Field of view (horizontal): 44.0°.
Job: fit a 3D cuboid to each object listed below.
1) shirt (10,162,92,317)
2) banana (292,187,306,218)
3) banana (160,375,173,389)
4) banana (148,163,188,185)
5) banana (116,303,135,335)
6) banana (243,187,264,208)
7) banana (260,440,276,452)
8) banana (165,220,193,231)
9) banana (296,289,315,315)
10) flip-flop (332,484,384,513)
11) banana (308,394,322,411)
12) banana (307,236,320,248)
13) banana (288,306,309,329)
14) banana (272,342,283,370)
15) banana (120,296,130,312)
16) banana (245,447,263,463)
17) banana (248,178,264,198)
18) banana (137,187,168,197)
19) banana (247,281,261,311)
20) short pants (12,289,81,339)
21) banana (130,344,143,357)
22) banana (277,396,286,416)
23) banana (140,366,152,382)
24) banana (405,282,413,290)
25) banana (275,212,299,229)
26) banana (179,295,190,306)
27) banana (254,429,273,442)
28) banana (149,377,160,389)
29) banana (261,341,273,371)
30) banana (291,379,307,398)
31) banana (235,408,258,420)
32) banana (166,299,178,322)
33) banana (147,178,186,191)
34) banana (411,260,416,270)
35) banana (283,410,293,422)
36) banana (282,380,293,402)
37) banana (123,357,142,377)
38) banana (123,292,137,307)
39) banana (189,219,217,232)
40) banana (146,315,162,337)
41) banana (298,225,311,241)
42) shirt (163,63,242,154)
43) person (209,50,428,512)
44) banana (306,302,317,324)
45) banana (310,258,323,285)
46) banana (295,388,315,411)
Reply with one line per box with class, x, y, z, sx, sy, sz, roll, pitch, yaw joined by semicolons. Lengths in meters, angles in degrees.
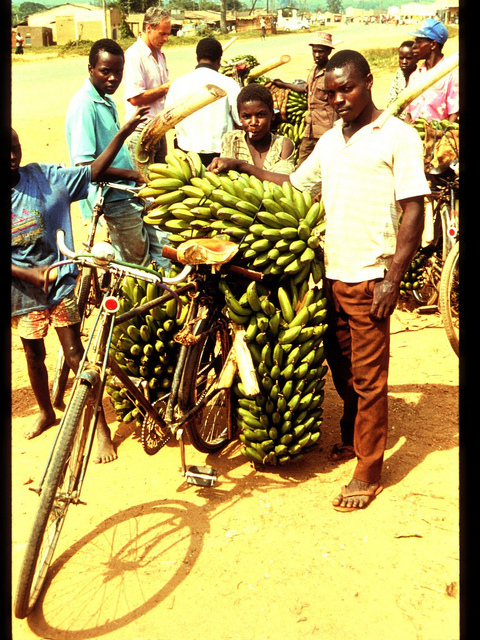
shirt;-1.170;-0.497;3.707;0.596;0.953;0.399;-8;15;-21
banana;0.344;-0.669;3.390;0.056;0.171;0.065;-12;-3;8
banana;-0.465;0.395;3.797;0.074;0.049;0.089;4;-26;-24
banana;-0.408;-0.874;3.518;0.332;0.104;0.084;6;-1;-8
banana;-0.664;0.003;3.447;0.052;0.200;0.077;-22;-13;15
banana;0.076;-0.687;3.290;0.172;0.047;0.056;45;-8;-38
banana;0.163;0.725;3.417;0.051;0.035;0.107;3;-8;14
banana;-0.352;-0.550;3.451;0.194;0.051;0.060;0;-3;5
banana;0.393;-0.114;3.413;0.052;0.185;0.068;31;3;12
flip-flop;0.651;0.952;3.225;0.265;0.057;0.116;-10;16;-36
banana;0.442;0.481;3.480;0.090;0.093;0.280;-1;-9;-5
banana;0.410;-0.432;3.286;0.053;0.037;0.062;10;-36;-9
banana;0.335;-0.015;3.356;0.119;0.113;0.062;-2;14;3
banana;0.218;0.192;3.323;0.040;0.142;0.057;-2;39;5
banana;-0.728;-0.104;3.769;0.042;0.113;0.082;-3;10;-14
banana;0.084;0.789;3.480;0.045;0.050;0.160;-17;-35;28
banana;0.092;-0.756;3.362;0.048;0.053;0.163;-25;44;-8
banana;-0.521;-0.757;3.496;0.199;0.049;0.054;0;1;2
banana;0.081;-0.128;3.280;0.044;0.169;0.096;5;16;30
short pants;-1.209;-0.031;4.018;0.538;0.355;0.319;-5;-13;37
banana;-0.649;0.196;3.763;0.072;0.106;0.132;-5;13;-9
banana;0.247;0.490;3.389;0.054;0.109;0.030;-15;18;-41
banana;-0.590;0.358;3.831;0.042;0.130;0.040;-6;30;28
banana;1.752;-0.363;6.128;0.069;0.069;0.064;3;-2;-21
banana;0.268;-0.547;3.308;0.049;0.055;0.166;-38;-23;17
banana;-0.335;-0.126;3.650;0.045;0.066;0.065;-6;-18;-3
banana;0.137;0.664;3.414;0.101;0.081;0.044;-2;14;0
banana;-0.534;0.397;3.714;0.059;0.061;0.036;-5;24;-28
banana;0.156;0.206;3.343;0.046;0.166;0.073;-3;-17;-1
banana;0.339;0.386;3.432;0.039;0.152;0.055;31;9;18
banana;0.036;0.539;3.489;0.162;0.039;0.054;22;-2;21
banana;-0.426;-0.065;3.723;0.078;0.123;0.033;-7;24;-21
banana;-0.429;-0.796;3.474;0.226;0.074;0.109;-2;13;-1
banana;1.758;-0.552;5.987;0.050;0.072;0.019;4;21;15
banana;0.276;0.545;3.394;0.035;0.037;0.080;-33;-4;-25
banana;0.275;0.400;3.348;0.037;0.108;0.042;6;23;5
banana;-0.671;0.306;3.833;0.046;0.191;0.078;-48;26;-24
banana;-0.711;-0.134;3.850;0.024;0.099;0.037;-46;-5;23
banana;-0.216;-0.548;3.412;0.053;0.066;0.194;44;-28;-27
banana;-0.551;0.035;3.785;0.051;0.172;0.062;-21;33;-6
banana;0.357;-0.483;3.267;0.054;0.076;0.047;-3;46;-5
shirt;-0.348;-1.944;5.540;0.864;0.666;0.437;-11;23;-27
person;0.628;-0.226;3.346;0.629;2.351;1.079;-5;14;-7
banana;0.409;-0.040;3.358;0.038;0.116;0.039;19;1;-6
banana;0.453;-0.282;3.412;0.046;0.154;0.057;0;34;19
banana;0.380;0.479;3.420;0.045;0.167;0.067;31;-20;14
